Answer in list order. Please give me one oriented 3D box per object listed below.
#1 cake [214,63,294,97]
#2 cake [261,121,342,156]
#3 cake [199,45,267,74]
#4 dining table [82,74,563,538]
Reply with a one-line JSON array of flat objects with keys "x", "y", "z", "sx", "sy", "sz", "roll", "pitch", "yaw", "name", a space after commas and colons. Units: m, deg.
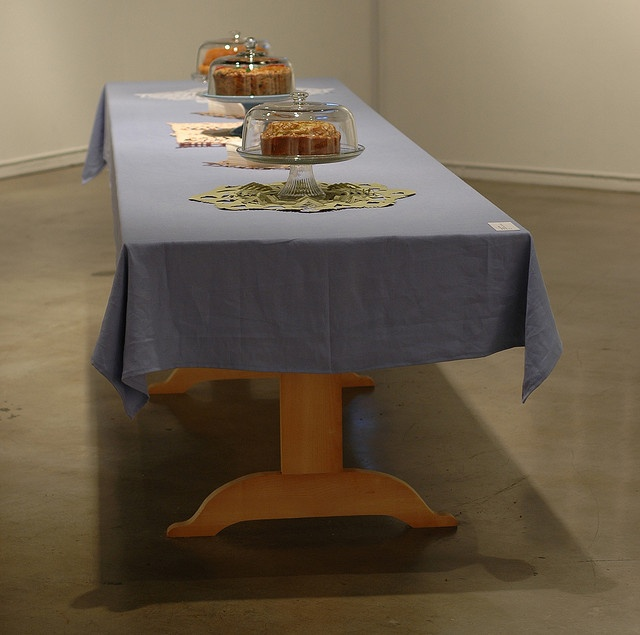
[{"x": -0.228, "y": -0.798, "z": 2.755, "sx": 0.234, "sy": 0.051, "sz": 0.185, "roll": -3, "pitch": 12, "yaw": -15, "name": "cake"}, {"x": -0.040, "y": -0.366, "z": 1.686, "sx": 0.141, "sy": 0.037, "sz": 0.111, "roll": -4, "pitch": 10, "yaw": -16, "name": "cake"}, {"x": -0.393, "y": -1.140, "z": 3.539, "sx": 0.432, "sy": 0.110, "sz": 0.337, "roll": -5, "pitch": 15, "yaw": -16, "name": "cake"}, {"x": -0.073, "y": -0.051, "z": 2.193, "sx": 0.950, "sy": 1.013, "sz": 1.488, "roll": -11, "pitch": 37, "yaw": -9, "name": "dining table"}]
